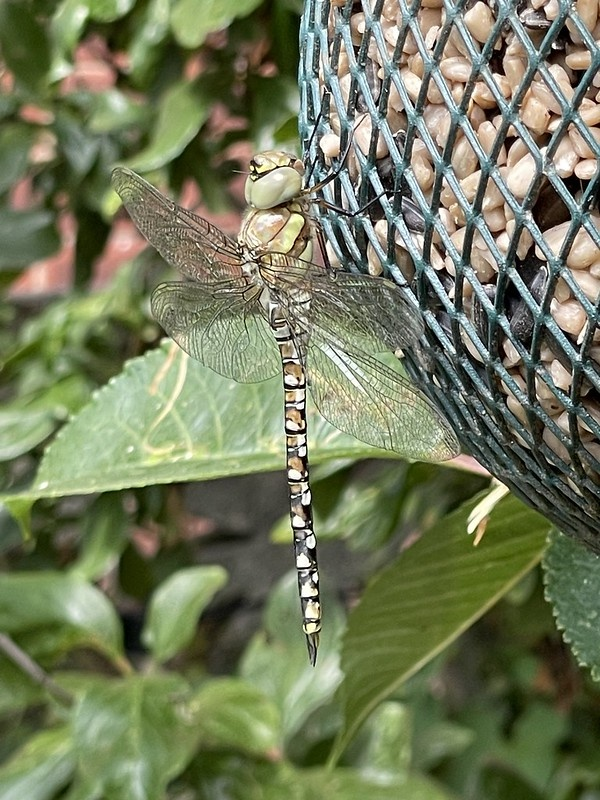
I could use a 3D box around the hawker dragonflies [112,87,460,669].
[{"bbox_3d":[0.042,-0.023,0.570,0.280,0.318,0.129,19,33,35],"label":"hawker dragonflies"}]
